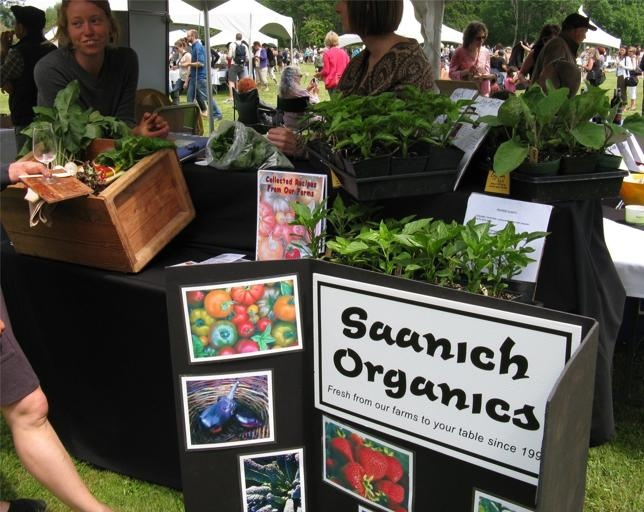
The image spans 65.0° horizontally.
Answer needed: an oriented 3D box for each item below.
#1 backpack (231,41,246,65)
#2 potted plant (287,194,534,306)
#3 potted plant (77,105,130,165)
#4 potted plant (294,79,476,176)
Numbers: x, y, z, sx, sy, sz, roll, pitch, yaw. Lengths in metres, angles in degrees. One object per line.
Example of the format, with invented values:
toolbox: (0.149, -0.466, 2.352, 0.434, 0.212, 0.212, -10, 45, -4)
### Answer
backpack: (-1.740, -4.213, 10.532, 0.221, 0.412, 0.295, 28, 39, 32)
potted plant: (0.261, -0.031, 1.587, 0.772, 0.224, 0.468, 13, 24, 30)
potted plant: (-0.948, -0.535, 2.234, 0.191, 0.279, 0.185, -19, 30, -39)
potted plant: (0.179, -0.444, 1.732, 0.615, 0.251, 0.436, 6, 22, 14)
